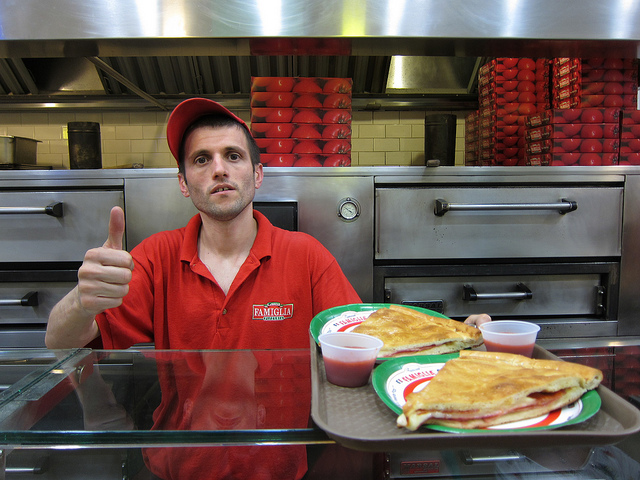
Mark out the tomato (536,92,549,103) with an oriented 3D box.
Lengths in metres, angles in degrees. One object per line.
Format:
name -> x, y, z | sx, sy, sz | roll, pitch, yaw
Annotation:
tomato -> 1.069, -0.690, 2.323 | 0.060, 0.047, 0.030 | 0, -2, 8

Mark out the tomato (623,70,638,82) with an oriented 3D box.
tomato -> 1.329, -0.711, 2.081 | 0.051, 0.045, 0.026 | 0, 5, 5

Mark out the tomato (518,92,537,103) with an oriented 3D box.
tomato -> 0.987, -0.687, 2.318 | 0.059, 0.032, 0.056 | 0, 3, -25

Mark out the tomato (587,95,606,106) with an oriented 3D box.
tomato -> 1.192, -0.602, 2.089 | 0.050, 0.031, 0.047 | 0, 7, 3

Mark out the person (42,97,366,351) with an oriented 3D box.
person -> -0.352, -0.041, 1.417 | 0.818, 0.747, 0.461 | -6, 8, -36

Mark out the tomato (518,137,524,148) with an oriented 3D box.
tomato -> 0.973, -0.475, 2.338 | 0.015, 0.048, 0.034 | -5, 7, -24

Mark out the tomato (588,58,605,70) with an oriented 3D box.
tomato -> 1.174, -0.760, 2.065 | 0.060, 0.056, 0.061 | 7, 9, 25

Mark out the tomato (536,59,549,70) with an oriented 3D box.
tomato -> 1.063, -0.843, 2.317 | 0.059, 0.052, 0.053 | 3, 6, 13

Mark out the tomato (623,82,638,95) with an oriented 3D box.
tomato -> 1.342, -0.658, 2.090 | 0.058, 0.052, 0.059 | 10, 13, 40

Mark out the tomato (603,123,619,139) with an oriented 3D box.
tomato -> 1.231, -0.467, 2.047 | 0.067, 0.059, 0.066 | 0, 2, 4

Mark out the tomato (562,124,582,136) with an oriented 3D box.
tomato -> 1.067, -0.473, 2.054 | 0.058, 0.041, 0.056 | 1, 6, 7

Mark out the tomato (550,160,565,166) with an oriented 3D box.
tomato -> 1.014, -0.331, 2.069 | 0.034, 0.019, 0.032 | -2, 4, -19

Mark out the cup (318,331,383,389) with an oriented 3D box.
cup -> 0.050, 0.215, 0.892 | 0.161, 0.076, 0.153 | 4, 4, 0

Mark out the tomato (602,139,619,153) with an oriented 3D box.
tomato -> 1.232, -0.400, 2.054 | 0.059, 0.055, 0.061 | 3, 7, 32

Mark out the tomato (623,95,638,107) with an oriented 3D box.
tomato -> 1.341, -0.606, 2.095 | 0.055, 0.049, 0.056 | -3, 8, -25

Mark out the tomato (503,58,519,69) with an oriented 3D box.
tomato -> 0.913, -0.858, 2.328 | 0.056, 0.033, 0.054 | 0, 1, 5

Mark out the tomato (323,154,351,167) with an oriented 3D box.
tomato -> 0.070, -0.330, 2.011 | 0.076, 0.069, 0.069 | -12, 21, -8

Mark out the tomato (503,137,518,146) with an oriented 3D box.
tomato -> 0.923, -0.482, 2.351 | 0.065, 0.040, 0.012 | 0, 7, 18

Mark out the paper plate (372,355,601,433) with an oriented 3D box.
paper plate -> 0.257, 0.254, 0.793 | 0.340, 0.032, 0.248 | -1, -1, 30

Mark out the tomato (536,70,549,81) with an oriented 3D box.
tomato -> 1.065, -0.796, 2.318 | 0.067, 0.054, 0.037 | 0, -2, 26

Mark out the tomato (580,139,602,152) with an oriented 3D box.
tomato -> 1.149, -0.402, 2.054 | 0.065, 0.041, 0.062 | -5, 8, -28
